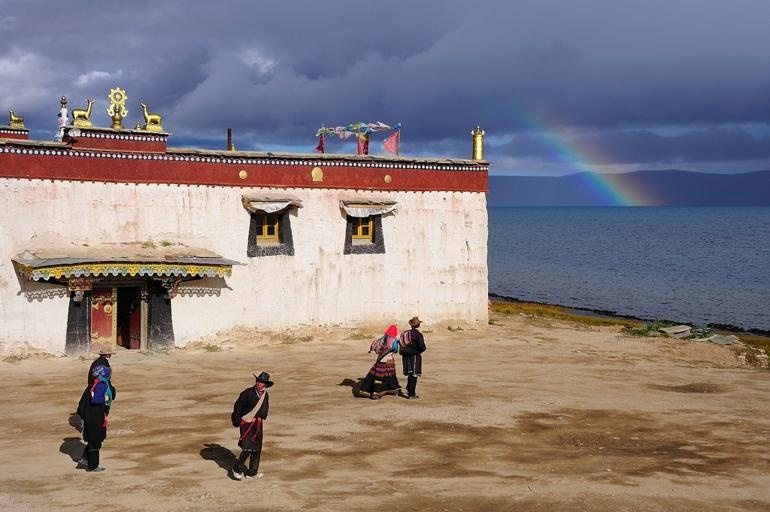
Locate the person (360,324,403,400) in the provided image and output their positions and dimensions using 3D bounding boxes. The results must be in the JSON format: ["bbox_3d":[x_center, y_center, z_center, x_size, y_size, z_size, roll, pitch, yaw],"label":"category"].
[{"bbox_3d":[-0.122,3.275,31.865,1.222,2.431,0.742,3,15,0],"label":"person"}]

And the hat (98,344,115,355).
[{"bbox_3d":[-7.577,2.579,27.489,0.500,0.164,0.559,0,4,-3],"label":"hat"}]

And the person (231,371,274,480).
[{"bbox_3d":[-3.548,4.454,26.628,1.024,2.819,0.931,2,15,-1],"label":"person"}]

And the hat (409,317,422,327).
[{"bbox_3d":[0.951,2.086,32.043,0.444,0.408,0.166,2,-27,6],"label":"hat"}]
